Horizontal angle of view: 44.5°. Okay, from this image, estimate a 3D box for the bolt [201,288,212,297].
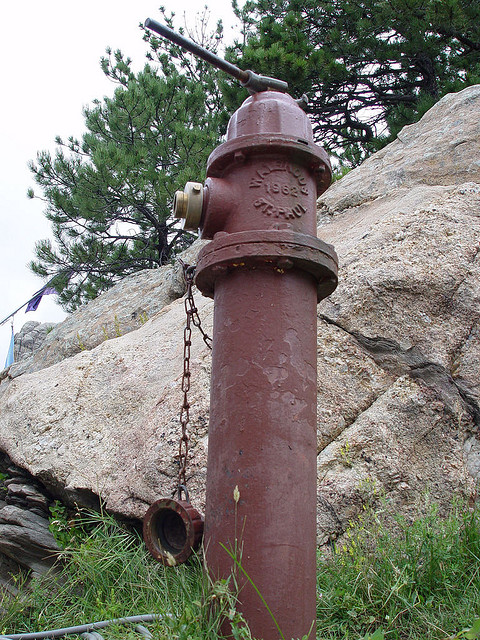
[{"bbox_3d":[-0.125,-0.106,2.233,0.032,0.029,0.008,25,37,20],"label":"bolt"}]

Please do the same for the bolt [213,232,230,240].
[{"bbox_3d":[-0.068,-0.297,2.034,0.031,0.023,0.031,6,-11,-40],"label":"bolt"}]

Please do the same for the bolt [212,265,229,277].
[{"bbox_3d":[-0.068,-0.171,2.016,0.030,0.009,0.038,20,-31,-14],"label":"bolt"}]

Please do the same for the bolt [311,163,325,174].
[{"bbox_3d":[0.286,-0.560,2.158,0.031,0.022,0.031,-5,-6,40],"label":"bolt"}]

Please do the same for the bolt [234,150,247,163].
[{"bbox_3d":[0.001,-0.582,2.077,0.031,0.030,0.030,3,0,27],"label":"bolt"}]
